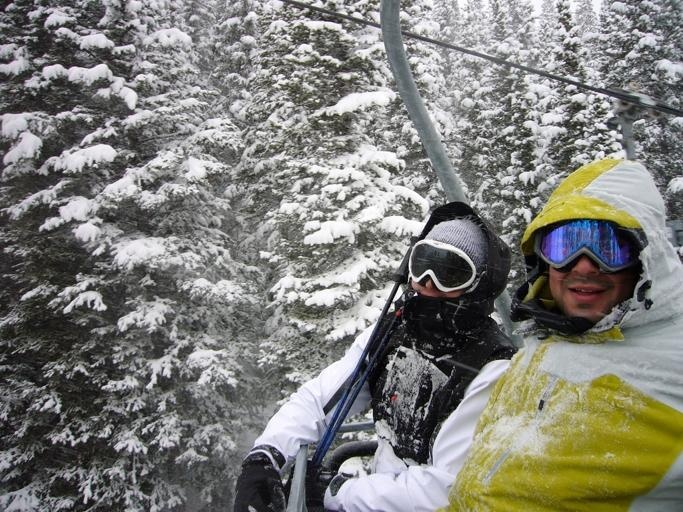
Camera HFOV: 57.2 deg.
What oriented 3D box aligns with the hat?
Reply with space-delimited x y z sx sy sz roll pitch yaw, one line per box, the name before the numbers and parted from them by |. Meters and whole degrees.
hat | 1.466 -0.171 8.633 0.851 0.800 0.962 23 -1 2
